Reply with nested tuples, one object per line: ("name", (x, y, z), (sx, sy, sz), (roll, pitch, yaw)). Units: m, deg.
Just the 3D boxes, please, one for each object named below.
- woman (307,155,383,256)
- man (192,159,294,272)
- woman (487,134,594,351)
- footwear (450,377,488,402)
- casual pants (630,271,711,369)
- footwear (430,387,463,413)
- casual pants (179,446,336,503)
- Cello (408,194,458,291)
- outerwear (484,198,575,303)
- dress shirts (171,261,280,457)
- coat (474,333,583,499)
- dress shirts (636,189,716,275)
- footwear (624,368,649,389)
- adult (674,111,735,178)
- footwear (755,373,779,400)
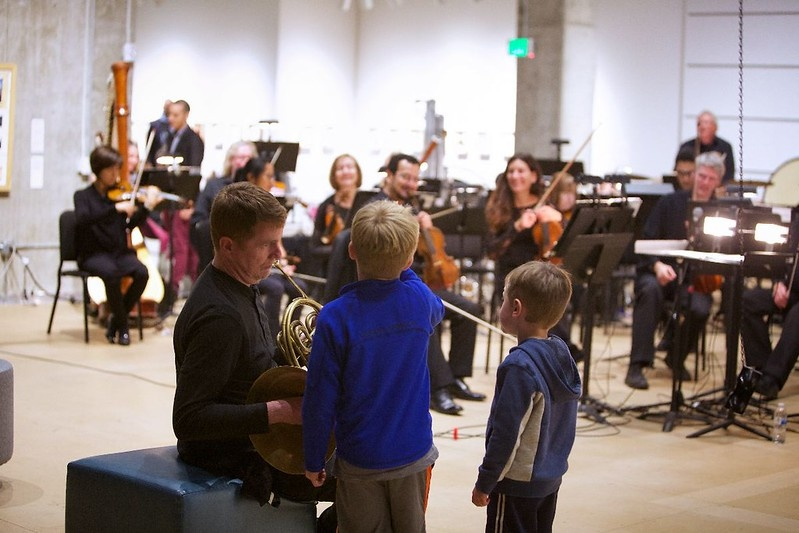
("woman", (-0.531, -0.605, 7.752), (0.325, 0.989, 0.554), (-9, -4, 25))
("man", (-1.302, -0.665, 7.473), (0.883, 1.261, 0.400), (11, -4, 44))
("woman", (0.954, -0.086, 6.732), (0.721, 1.779, 0.382), (-1, 1, 3))
("footwear", (0.506, 0.968, 6.634), (0.366, 0.156, 0.122), (4, -4, 10))
("casual pants", (2.049, 0.454, 6.954), (0.594, 0.556, 0.825), (24, 7, 32))
("footwear", (0.333, 0.996, 6.281), (0.108, 0.128, 0.301), (2, -5, -36))
("casual pants", (-0.646, 0.987, 4.027), (0.394, 0.109, 0.376), (13, -5, 44))
("Cello", (0.240, -0.211, 7.235), (0.444, 0.360, 1.105), (-7, 36, -8))
("outerwear", (0.949, -0.135, 6.714), (0.380, 0.779, 0.235), (3, 4, 14))
("dress shirts", (-0.789, 0.391, 3.895), (0.465, 0.780, 0.321), (2, 4, -15))
("coat", (0.603, 0.709, 4.042), (0.531, 0.750, 0.204), (1, 5, -24))
("dress shirts", (2.179, -0.287, 7.050), (0.496, 0.636, 0.218), (0, 9, -30))
("footwear", (1.912, 0.897, 6.898), (0.179, 0.173, 0.121), (4, 4, 13))
("adult", (3.420, -1.179, 9.668), (0.627, 1.027, 0.623), (4, 3, 29))
("footwear", (2.784, 0.920, 6.474), (0.170, 0.220, 0.365), (4, 3, 23))
